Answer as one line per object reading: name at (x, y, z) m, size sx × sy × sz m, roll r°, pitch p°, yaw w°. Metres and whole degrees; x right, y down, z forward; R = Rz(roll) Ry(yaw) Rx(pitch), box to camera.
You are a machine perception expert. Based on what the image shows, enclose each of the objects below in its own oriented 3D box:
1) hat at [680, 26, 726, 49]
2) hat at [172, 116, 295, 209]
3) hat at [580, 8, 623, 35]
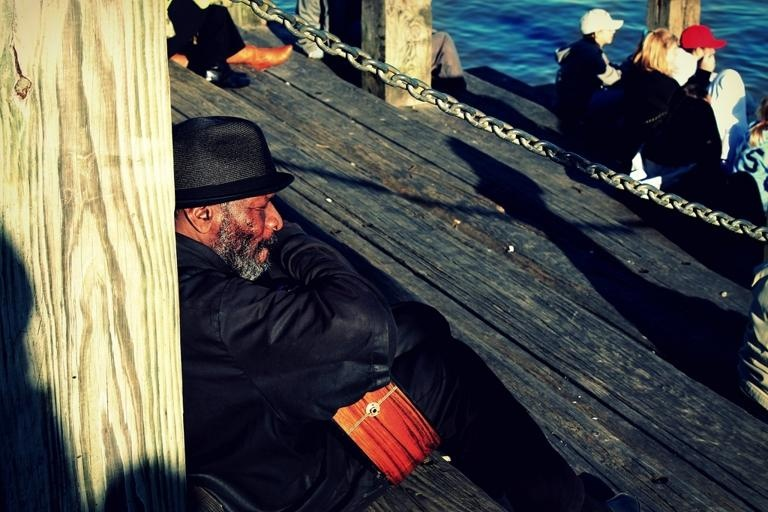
hat at (2.491, -1.701, 7.388) m, size 0.319 × 0.155 × 0.201 m, roll -5°, pitch 18°, yaw 12°
hat at (-0.638, -0.405, 3.970) m, size 0.499 × 0.188 × 0.355 m, roll -9°, pitch 18°, yaw -21°
hat at (1.619, -1.750, 7.046) m, size 0.288 × 0.141 × 0.194 m, roll -5°, pitch 24°, yaw 2°
